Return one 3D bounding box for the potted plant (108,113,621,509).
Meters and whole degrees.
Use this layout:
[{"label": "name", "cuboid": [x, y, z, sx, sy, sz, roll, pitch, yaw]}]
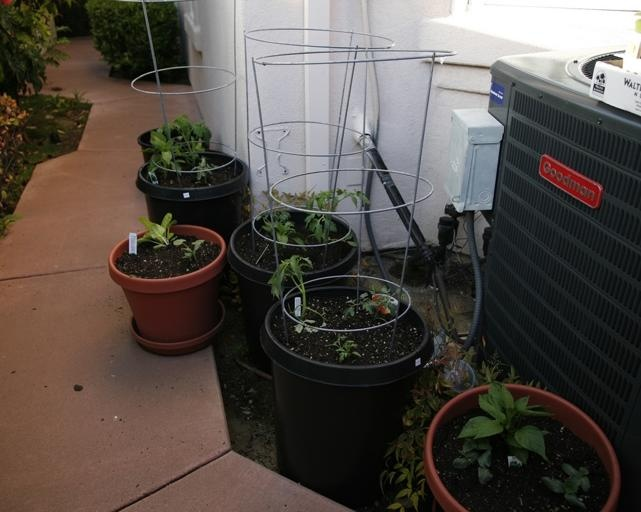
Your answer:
[{"label": "potted plant", "cuboid": [0.152, 0.084, 2.707, 1.368, 1.222, 1.560, 0, 13, 0]}]
